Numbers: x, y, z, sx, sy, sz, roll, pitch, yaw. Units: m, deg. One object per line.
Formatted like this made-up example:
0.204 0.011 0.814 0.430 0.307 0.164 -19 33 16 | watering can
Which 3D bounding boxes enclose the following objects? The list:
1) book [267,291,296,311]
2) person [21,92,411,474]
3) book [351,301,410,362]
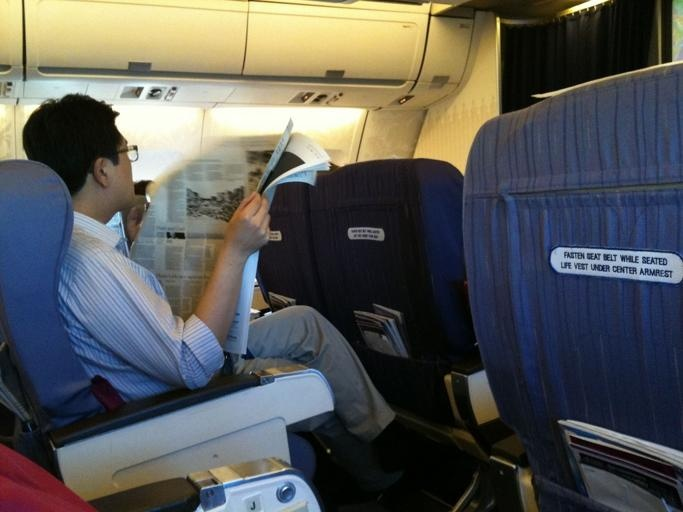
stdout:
-0.253 0.186 2.253 0.010 0.070 0.095 -22 25 -39 | book
-0.395 0.143 1.548 0.705 1.207 0.526 -20 26 -33 | person
0.139 0.257 1.852 0.068 0.198 0.149 -29 13 -28 | book
